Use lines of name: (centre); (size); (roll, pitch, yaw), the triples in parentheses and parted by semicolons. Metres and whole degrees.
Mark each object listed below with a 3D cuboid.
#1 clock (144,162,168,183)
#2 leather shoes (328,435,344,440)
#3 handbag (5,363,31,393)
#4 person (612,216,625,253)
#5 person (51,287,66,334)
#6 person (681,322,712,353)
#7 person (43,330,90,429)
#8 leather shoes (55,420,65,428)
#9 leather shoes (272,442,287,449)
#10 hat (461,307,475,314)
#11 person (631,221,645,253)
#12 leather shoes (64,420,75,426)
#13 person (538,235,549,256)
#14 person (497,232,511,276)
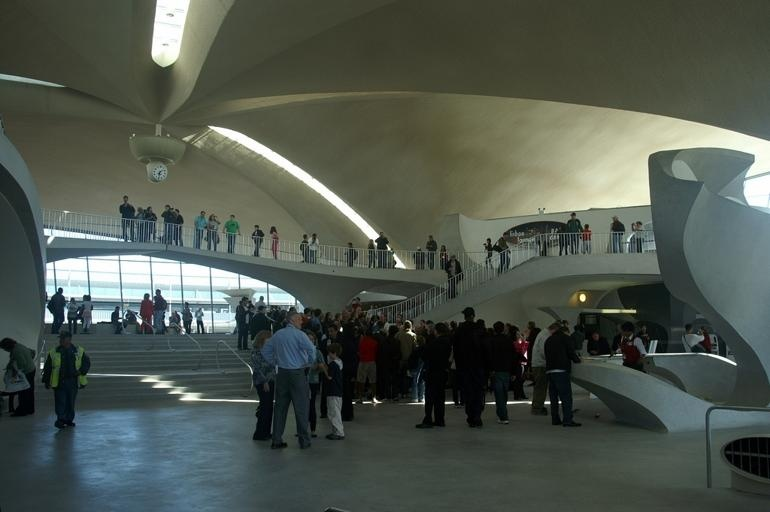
clock: (-10.006, -3.672, 27.716); (0.716, 0.776, 0.628); (1, -7, -12)
leather shoes: (-0.995, 3.721, 12.920); (0.302, 0.143, 0.117); (5, -10, 8)
handbag: (-8.626, 2.909, 14.825); (0.509, 0.682, 0.303); (4, -9, -33)
person: (9.252, -0.727, 24.992); (0.525, 1.415, 0.802); (-3, -8, 21)
person: (-12.136, 2.070, 23.384); (0.530, 1.690, 1.151); (3, -8, -28)
person: (9.464, 2.519, 19.132); (0.676, 0.861, 2.602); (-4, -8, 26)
person: (-7.031, 2.739, 13.904); (0.894, 2.071, 0.481); (3, -8, -28)
leather shoes: (-7.027, 3.667, 13.710); (0.157, 0.176, 0.259); (-6, -9, 36)
leather shoes: (-2.039, 3.684, 12.197); (0.104, 0.145, 0.320); (0, 1, 31)
hat: (1.857, 1.242, 13.926); (0.246, 0.200, 0.423); (4, -1, 4)
person: (10.272, -0.693, 25.556); (0.423, 1.508, 2.170); (-3, -8, 23)
leather shoes: (-6.926, 3.701, 13.891); (0.180, 0.139, 0.212); (2, -8, -19)
person: (6.473, -0.340, 25.654); (0.427, 0.921, 0.516); (-2, -7, 15)
person: (5.063, 0.047, 26.637); (0.467, 1.517, 1.169); (-2, -7, 11)
